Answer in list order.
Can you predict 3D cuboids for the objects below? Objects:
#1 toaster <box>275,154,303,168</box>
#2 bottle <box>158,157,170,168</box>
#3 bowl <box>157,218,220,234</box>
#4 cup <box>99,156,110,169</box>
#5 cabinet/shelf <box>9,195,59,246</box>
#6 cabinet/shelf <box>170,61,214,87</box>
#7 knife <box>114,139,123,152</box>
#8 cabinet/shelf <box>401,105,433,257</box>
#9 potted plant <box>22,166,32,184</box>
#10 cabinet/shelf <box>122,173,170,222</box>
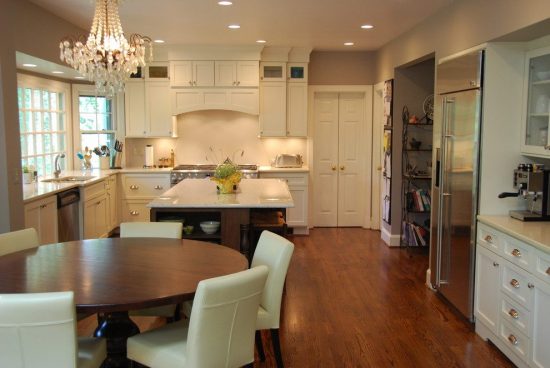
[{"bbox_3d":[0.278,-0.435,7.384,0.516,0.227,0.230,0,12,-5],"label":"toaster"},{"bbox_3d":[-2.043,-0.398,7.427,0.238,0.234,0.133,1,3,-10],"label":"bottle"},{"bbox_3d":[-0.946,0.482,4.568,0.586,0.155,0.265,2,2,5],"label":"bowl"},{"bbox_3d":[-2.980,-0.377,6.982,0.166,0.230,0.098,-5,13,-26],"label":"cup"},{"bbox_3d":[-2.697,0.395,4.435,0.211,0.587,0.589,0,2,0],"label":"cabinet/shelf"},{"bbox_3d":[-1.428,-1.922,6.952,0.750,0.461,0.436,0,2,0],"label":"cabinet/shelf"},{"bbox_3d":[-2.804,-0.681,7.155,0.133,0.214,0.145,0,12,-2],"label":"knife"},{"bbox_3d":[2.265,-0.074,6.329,0.524,2.266,0.685,2,12,8],"label":"cabinet/shelf"},{"bbox_3d":[-3.242,-0.118,5.236,0.121,0.225,0.346,-7,14,-31],"label":"potted plant"},{"bbox_3d":[-2.029,0.165,6.306,0.818,0.817,0.562,-1,0,-2],"label":"cabinet/shelf"}]
